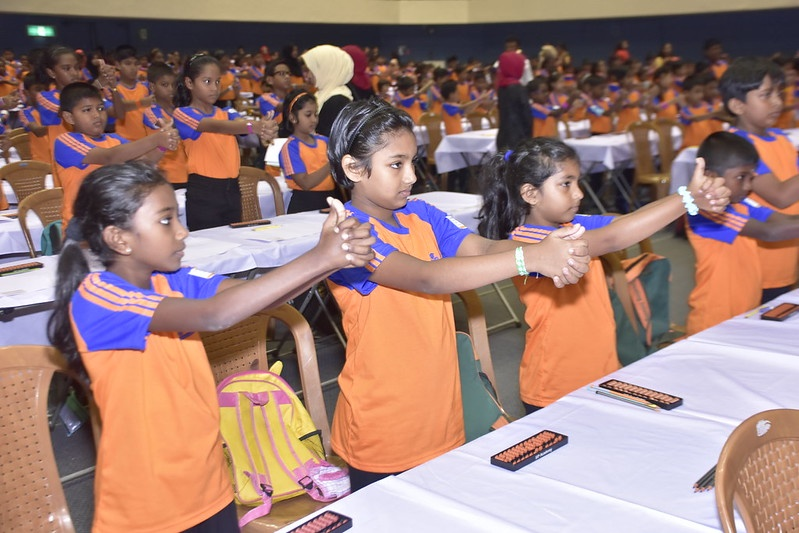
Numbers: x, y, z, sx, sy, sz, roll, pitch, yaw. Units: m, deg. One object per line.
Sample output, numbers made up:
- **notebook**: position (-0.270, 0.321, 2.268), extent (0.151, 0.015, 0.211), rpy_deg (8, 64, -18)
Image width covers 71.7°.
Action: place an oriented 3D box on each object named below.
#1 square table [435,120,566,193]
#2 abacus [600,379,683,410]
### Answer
- **square table**: position (1.185, -1.364, 7.220), extent (1.283, 0.724, 1.541), rpy_deg (15, 31, 36)
- **abacus**: position (0.677, 0.359, 1.579), extent (0.176, 0.022, 0.079), rpy_deg (11, 13, 41)
